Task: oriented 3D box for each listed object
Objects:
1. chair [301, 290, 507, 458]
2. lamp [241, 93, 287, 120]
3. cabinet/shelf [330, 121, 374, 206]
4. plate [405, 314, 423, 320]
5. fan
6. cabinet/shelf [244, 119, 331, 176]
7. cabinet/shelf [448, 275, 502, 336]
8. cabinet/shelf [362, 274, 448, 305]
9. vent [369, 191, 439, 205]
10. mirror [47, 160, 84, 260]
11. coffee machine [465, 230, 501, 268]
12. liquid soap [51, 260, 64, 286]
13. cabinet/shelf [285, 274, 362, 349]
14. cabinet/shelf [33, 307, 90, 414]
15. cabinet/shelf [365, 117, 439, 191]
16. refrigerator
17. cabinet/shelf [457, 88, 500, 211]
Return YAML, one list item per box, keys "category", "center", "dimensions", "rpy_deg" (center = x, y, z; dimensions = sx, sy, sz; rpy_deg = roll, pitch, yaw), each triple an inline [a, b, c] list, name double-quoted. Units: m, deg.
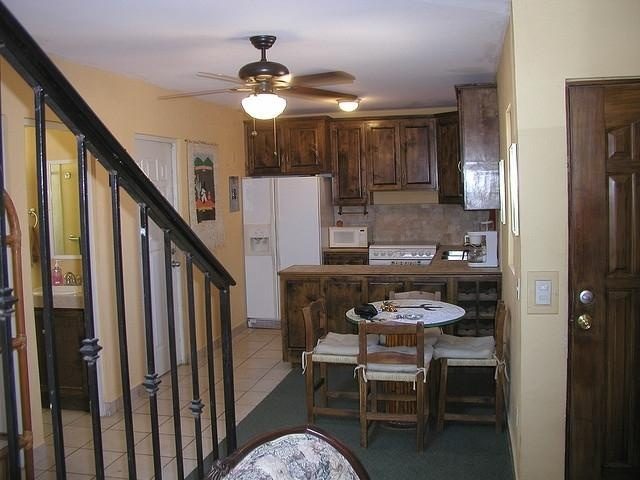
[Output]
- category: "chair"
  center: [0.687, 1.101, 4.290]
  dimensions: [1.237, 0.733, 1.239]
  rpy_deg: [0, 3, 5]
- category: "lamp"
  center: [-0.405, -0.974, 3.837]
  dimensions: [0.291, 0.149, 0.301]
  rpy_deg: [-4, 3, -7]
- category: "cabinet/shelf"
  center: [0.309, -1.053, 7.420]
  dimensions: [0.726, 1.147, 0.783]
  rpy_deg: [1, 6, 34]
- category: "plate"
  center: [0.725, 0.595, 4.083]
  dimensions: [0.136, 0.017, 0.116]
  rpy_deg: [-3, 3, 13]
- category: "fan"
  center: [-0.305, -1.284, 4.168]
  dimensions: [0.989, 0.451, 1.374]
  rpy_deg: [-4, 3, -4]
- category: "cabinet/shelf"
  center: [-0.438, -1.265, 7.348]
  dimensions: [1.220, 0.789, 0.454]
  rpy_deg: [-2, 2, 6]
- category: "cabinet/shelf"
  center: [1.488, 0.616, 5.031]
  dimensions: [0.431, 0.635, 0.223]
  rpy_deg: [-2, 10, 9]
- category: "cabinet/shelf"
  center: [0.816, 0.467, 5.101]
  dimensions: [0.696, 0.263, 0.655]
  rpy_deg: [0, -3, 8]
- category: "vent"
  center: [1.195, -0.589, 7.397]
  dimensions: [0.875, 0.220, 0.176]
  rpy_deg: [-4, 3, 7]
- category: "mirror"
  center: [-2.456, -0.247, 5.070]
  dimensions: [0.315, 1.306, 0.062]
  rpy_deg: [-1, 46, -24]
- category: "coffee machine"
  center: [1.578, 0.025, 5.168]
  dimensions: [0.333, 0.370, 0.246]
  rpy_deg: [-8, 30, 5]
- category: "liquid soap"
  center: [-2.467, 0.308, 4.964]
  dimensions: [0.137, 0.182, 0.052]
  rpy_deg: [-2, 4, 24]
- category: "cabinet/shelf"
  center: [0.165, 0.787, 5.554]
  dimensions: [0.960, 0.897, 0.537]
  rpy_deg: [-3, -4, 26]
- category: "cabinet/shelf"
  center: [-2.271, 1.049, 4.577]
  dimensions: [0.623, 0.691, 0.286]
  rpy_deg: [-2, 4, 28]
- category: "cabinet/shelf"
  center: [1.181, -1.165, 7.207]
  dimensions: [1.052, 1.013, 0.411]
  rpy_deg: [5, 17, 32]
- category: "refrigerator"
  center: [-0.543, 0.017, 7.390]
  dimensions: [1.003, 1.596, 0.952]
  rpy_deg: [-4, 17, -12]
- category: "cabinet/shelf"
  center: [1.444, -0.843, 4.764]
  dimensions: [0.377, 0.957, 0.993]
  rpy_deg: [1, 7, 10]
